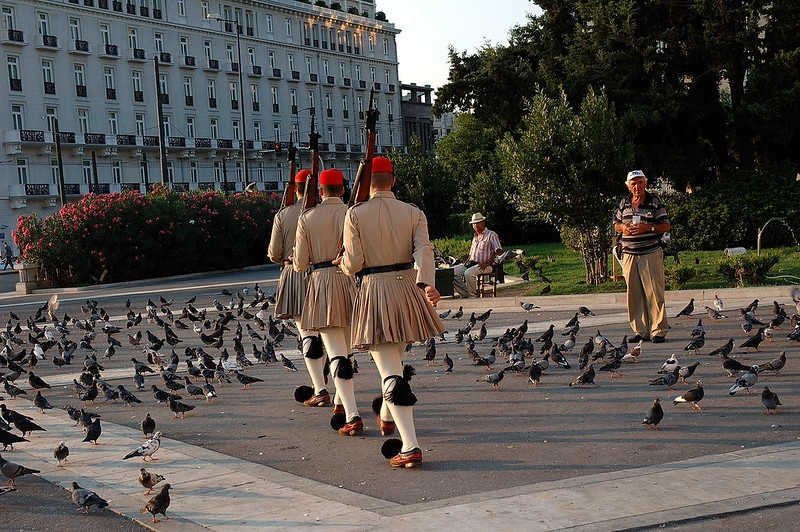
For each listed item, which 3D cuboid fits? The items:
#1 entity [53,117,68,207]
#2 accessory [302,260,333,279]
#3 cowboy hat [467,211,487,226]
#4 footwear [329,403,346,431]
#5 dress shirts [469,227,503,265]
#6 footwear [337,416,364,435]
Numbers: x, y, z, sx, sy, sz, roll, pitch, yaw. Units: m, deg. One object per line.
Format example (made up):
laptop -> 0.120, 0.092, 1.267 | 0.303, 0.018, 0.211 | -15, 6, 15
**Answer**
entity -> -21.312, -6.574, 88.900 | 0.354, 5.561, 0.376 | -12, 15, -37
accessory -> -2.347, 0.135, 41.710 | 0.622, 0.207, 0.506 | -3, -12, -35
cowboy hat -> 2.872, -1.779, 51.532 | 0.599, 0.227, 0.644 | -7, -7, 1
footwear -> -1.785, 4.566, 41.611 | 0.327, 0.862, 0.377 | 0, -13, 4
dress shirts -> 3.173, -0.796, 51.879 | 0.888, 1.331, 1.750 | -3, 11, -30
footwear -> -1.357, 4.807, 41.390 | 0.819, 0.408, 0.357 | -2, 6, 41
